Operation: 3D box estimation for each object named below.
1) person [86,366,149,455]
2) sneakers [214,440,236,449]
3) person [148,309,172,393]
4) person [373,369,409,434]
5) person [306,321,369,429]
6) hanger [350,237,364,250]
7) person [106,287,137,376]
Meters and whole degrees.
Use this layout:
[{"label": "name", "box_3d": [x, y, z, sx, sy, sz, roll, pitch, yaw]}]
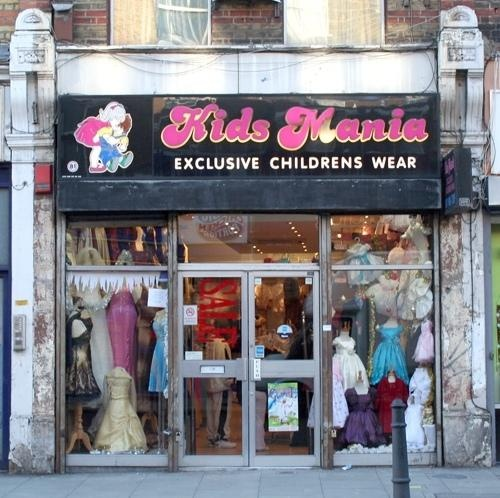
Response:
[{"label": "person", "box_3d": [-1.552, 1.924, 14.863, 0.552, 0.926, 0.477, 0, -19, -17]}, {"label": "sneakers", "box_3d": [-0.287, 2.308, 14.654, 0.264, 0.146, 0.101, 0, -2, 2]}, {"label": "person", "box_3d": [-1.088, 1.241, 14.771, 0.258, 0.916, 0.093, -2, 1, 21]}, {"label": "person", "box_3d": [1.686, 1.858, 14.853, 0.392, 0.891, 0.258, -1, 26, -2]}, {"label": "person", "box_3d": [1.102, 1.523, 14.912, 0.581, 1.276, 0.536, -4, -16, 30]}, {"label": "hanger", "box_3d": [1.275, -0.067, 14.793, 0.120, 0.142, 0.032, 16, -2, -4]}, {"label": "person", "box_3d": [-1.543, 1.008, 15.023, 0.308, 1.330, 0.306, 8, 27, 6]}]
